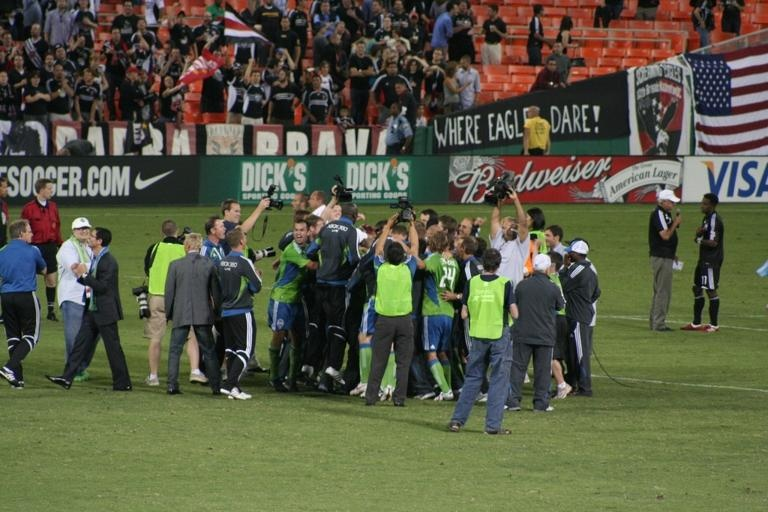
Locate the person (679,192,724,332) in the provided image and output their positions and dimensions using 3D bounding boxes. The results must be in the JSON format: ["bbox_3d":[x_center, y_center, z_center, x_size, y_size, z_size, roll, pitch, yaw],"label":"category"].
[{"bbox_3d":[8.091,0.161,38.048,0.843,3.461,0.547,-2,-2,24],"label":"person"}]

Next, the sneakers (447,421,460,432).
[{"bbox_3d":[1.436,3.539,31.403,0.229,0.184,0.191,-1,2,28],"label":"sneakers"}]

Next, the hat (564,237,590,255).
[{"bbox_3d":[4.264,-0.211,33.710,0.416,0.346,0.638,4,0,-25],"label":"hat"}]

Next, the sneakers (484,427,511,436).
[{"bbox_3d":[2.352,3.650,31.442,0.535,0.244,0.196,-4,10,-13],"label":"sneakers"}]

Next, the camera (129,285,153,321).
[{"bbox_3d":[-5.262,0.955,32.851,0.293,0.575,0.345,-11,-8,8],"label":"camera"}]

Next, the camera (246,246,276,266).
[{"bbox_3d":[-2.646,-0.021,33.568,0.844,0.321,0.328,-8,33,-36],"label":"camera"}]

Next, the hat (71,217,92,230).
[{"bbox_3d":[-6.735,-0.718,33.455,0.359,0.229,0.524,-1,2,-23],"label":"hat"}]

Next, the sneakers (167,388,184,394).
[{"bbox_3d":[-4.536,2.931,32.807,0.143,0.093,0.209,2,-4,35],"label":"sneakers"}]

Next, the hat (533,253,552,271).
[{"bbox_3d":[3.345,0.139,32.223,0.353,0.370,0.296,-1,-2,5],"label":"hat"}]

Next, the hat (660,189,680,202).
[{"bbox_3d":[7.103,-1.496,37.680,0.497,0.280,0.386,3,11,14],"label":"hat"}]

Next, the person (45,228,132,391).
[{"bbox_3d":[-6.224,1.156,32.817,1.370,3.529,0.639,-1,-2,-7],"label":"person"}]
